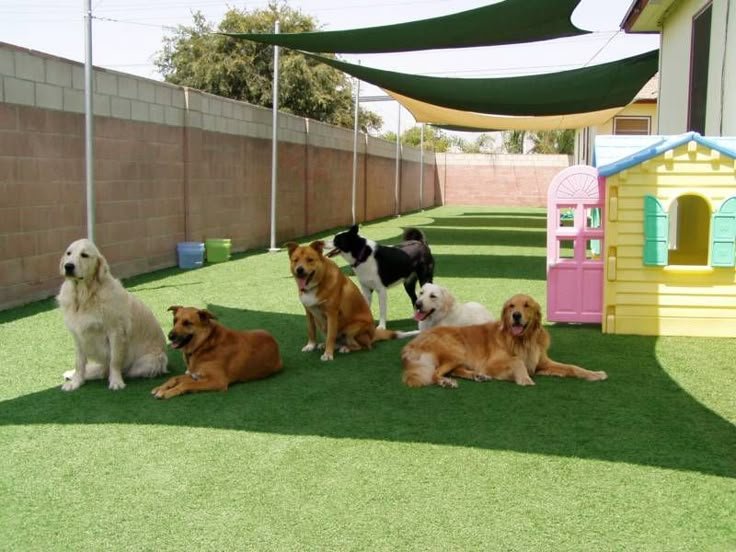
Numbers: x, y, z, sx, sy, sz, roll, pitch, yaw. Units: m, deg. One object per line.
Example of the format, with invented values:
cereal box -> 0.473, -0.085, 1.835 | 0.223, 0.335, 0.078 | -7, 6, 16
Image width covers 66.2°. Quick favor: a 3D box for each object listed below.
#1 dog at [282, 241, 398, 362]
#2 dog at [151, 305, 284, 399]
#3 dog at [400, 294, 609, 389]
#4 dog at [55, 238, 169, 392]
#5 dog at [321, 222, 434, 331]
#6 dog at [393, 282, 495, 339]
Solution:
dog -> -0.309, 0.217, 6.212 | 1.286, 1.265, 0.618 | -8, 8, -41
dog -> -1.298, 0.610, 5.140 | 0.455, 0.768, 1.333 | 4, 4, 41
dog -> 1.113, 0.697, 5.217 | 1.432, 0.750, 0.949 | -6, -5, 34
dog -> -2.535, 0.374, 5.483 | 0.880, 1.363, 1.249 | 1, 1, 29
dog -> 0.266, -0.025, 7.359 | 1.591, 1.255, 0.567 | -10, 13, -44
dog -> 0.900, 0.432, 6.141 | 1.112, 0.546, 0.656 | 9, 0, -35
